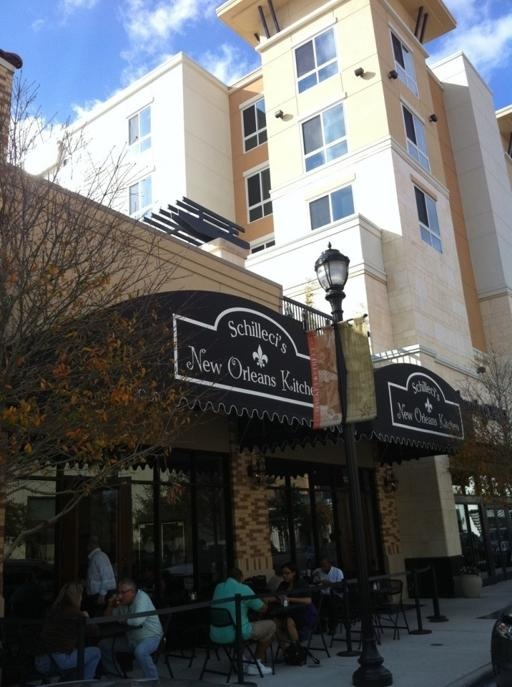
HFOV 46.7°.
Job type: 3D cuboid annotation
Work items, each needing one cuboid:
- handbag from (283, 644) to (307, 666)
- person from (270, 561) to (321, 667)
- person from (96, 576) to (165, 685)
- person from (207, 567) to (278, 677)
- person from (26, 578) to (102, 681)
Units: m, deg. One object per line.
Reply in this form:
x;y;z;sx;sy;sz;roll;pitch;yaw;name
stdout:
0.530;4.263;8.125;0.309;0.314;0.224;-9;-21;20;handbag
0.437;3.854;8.528;0.818;1.318;0.579;0;-7;-39;person
-1.325;3.081;6.384;0.670;0.959;2.143;-1;-16;-13;person
-0.172;3.532;7.560;0.763;1.295;0.622;5;-16;-36;person
-1.736;2.715;5.488;0.590;0.840;1.180;0;-16;-17;person
